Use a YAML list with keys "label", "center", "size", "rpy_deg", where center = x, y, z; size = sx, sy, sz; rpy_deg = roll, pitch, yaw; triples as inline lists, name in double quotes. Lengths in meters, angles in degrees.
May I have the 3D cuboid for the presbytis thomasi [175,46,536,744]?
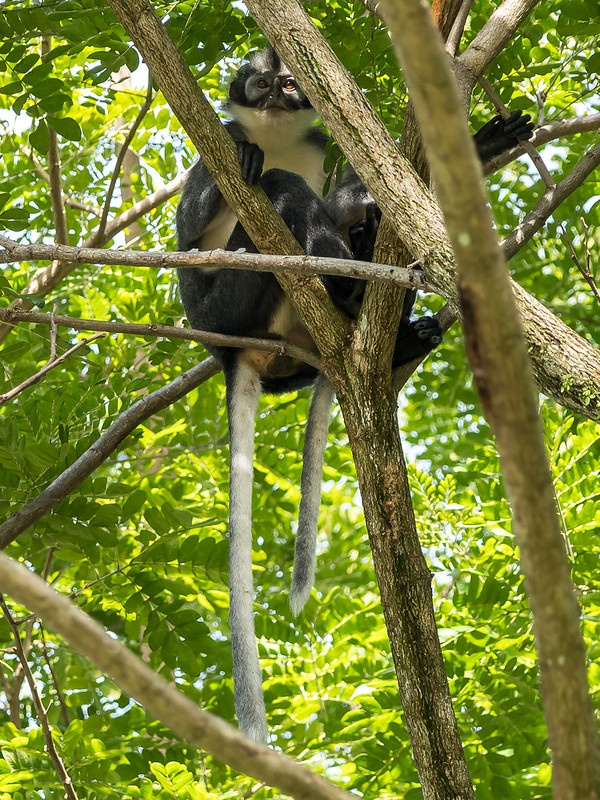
- label: "presbytis thomasi"
  center: [0.088, -0.307, 4.029]
  size: [1.130, 2.492, 1.073]
  rpy_deg: [21, -30, -33]
